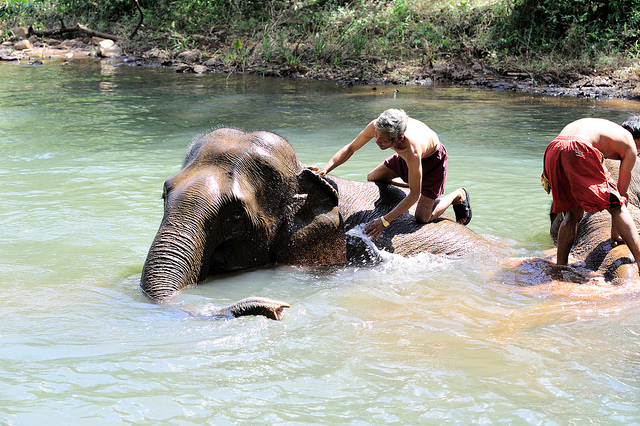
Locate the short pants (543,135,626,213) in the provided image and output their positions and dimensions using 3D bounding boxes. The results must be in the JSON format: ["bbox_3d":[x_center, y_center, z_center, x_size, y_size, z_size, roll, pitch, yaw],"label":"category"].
[{"bbox_3d":[2.668,-0.387,6.786,0.394,0.649,0.702,-16,-6,-42],"label":"short pants"}]

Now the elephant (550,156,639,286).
[{"bbox_3d":[2.846,0.289,6.805,0.791,1.503,0.940,-5,-14,7],"label":"elephant"}]

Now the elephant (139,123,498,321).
[{"bbox_3d":[-0.266,0.012,6.300,2.807,1.489,1.317,-3,14,-25],"label":"elephant"}]

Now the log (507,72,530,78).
[{"bbox_3d":[5.743,-3.992,19.662,0.325,0.078,0.298,5,2,5],"label":"log"}]

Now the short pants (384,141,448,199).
[{"bbox_3d":[1.152,-0.549,7.458,0.472,0.601,0.882,-10,13,-23],"label":"short pants"}]
